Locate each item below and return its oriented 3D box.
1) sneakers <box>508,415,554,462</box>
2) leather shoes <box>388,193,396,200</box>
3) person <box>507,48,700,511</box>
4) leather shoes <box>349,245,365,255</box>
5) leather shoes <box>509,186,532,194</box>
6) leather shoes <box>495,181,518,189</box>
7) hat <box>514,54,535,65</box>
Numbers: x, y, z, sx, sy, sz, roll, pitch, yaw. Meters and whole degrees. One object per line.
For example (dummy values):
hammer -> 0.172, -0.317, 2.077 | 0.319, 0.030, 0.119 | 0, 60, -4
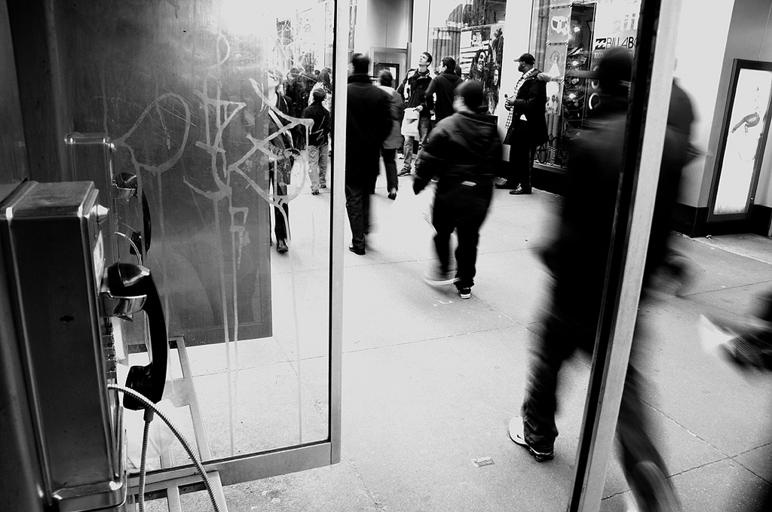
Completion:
sneakers -> 0.720, 0.919, 2.877 | 0.109, 0.132, 0.285 | -6, 42, -25
leather shoes -> 0.076, -0.765, 7.086 | 0.117, 0.075, 0.144 | 6, 7, 0
person -> 0.922, 0.168, 2.342 | 0.790, 1.970, 0.397 | 11, 23, 28
leather shoes -> -0.295, -0.081, 5.574 | 0.070, 0.067, 0.161 | -25, 39, -38
leather shoes -> 1.967, -0.975, 8.105 | 0.336, 0.141, 0.124 | 2, 17, 5
leather shoes -> 1.819, -1.083, 8.276 | 0.121, 0.140, 0.360 | -17, 24, -36
hat -> 1.583, -2.283, 6.458 | 0.274, 0.140, 0.197 | 12, 30, 20
